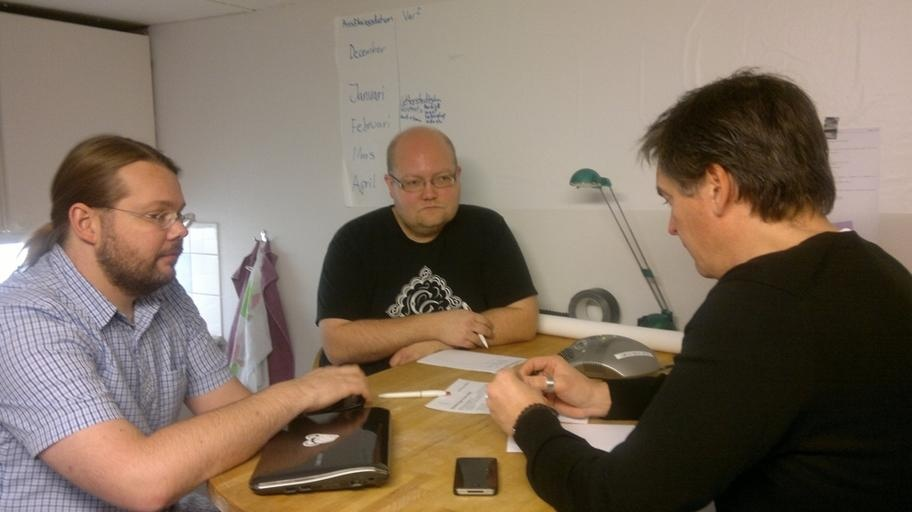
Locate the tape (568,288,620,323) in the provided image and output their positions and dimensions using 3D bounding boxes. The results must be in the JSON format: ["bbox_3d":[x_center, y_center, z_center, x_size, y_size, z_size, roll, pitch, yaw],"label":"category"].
[{"bbox_3d":[0.713,0.247,3.093,0.214,0.184,0.068,3,13,29],"label":"tape"}]

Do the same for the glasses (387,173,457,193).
[{"bbox_3d":[-0.152,-0.351,2.869,0.305,0.084,0.103,-5,6,-4],"label":"glasses"}]

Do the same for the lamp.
[{"bbox_3d":[0.884,0.065,3.036,0.412,1.041,0.323,-12,7,3],"label":"lamp"}]

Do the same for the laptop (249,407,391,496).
[{"bbox_3d":[-0.409,0.597,1.822,0.259,0.056,0.242,-5,18,8],"label":"laptop"}]

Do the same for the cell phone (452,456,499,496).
[{"bbox_3d":[0.057,0.655,1.785,0.138,0.034,0.156,0,19,9],"label":"cell phone"}]
